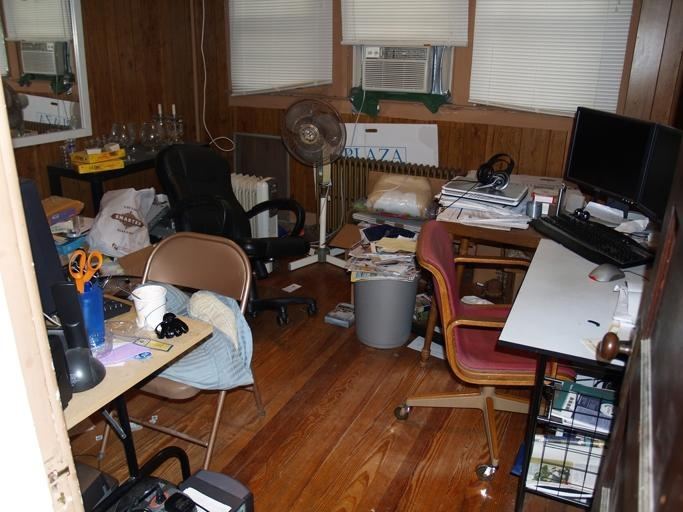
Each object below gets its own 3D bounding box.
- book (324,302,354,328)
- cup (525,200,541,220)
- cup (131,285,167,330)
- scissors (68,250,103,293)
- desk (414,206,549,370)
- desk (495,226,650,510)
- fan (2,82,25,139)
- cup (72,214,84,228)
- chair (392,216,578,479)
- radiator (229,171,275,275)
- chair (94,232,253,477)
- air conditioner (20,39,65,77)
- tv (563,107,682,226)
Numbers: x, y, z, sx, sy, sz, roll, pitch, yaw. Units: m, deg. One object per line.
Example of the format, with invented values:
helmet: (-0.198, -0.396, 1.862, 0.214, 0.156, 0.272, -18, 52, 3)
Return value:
book: (0.011, 0.386, 3.451, 0.188, 0.067, 0.216, 11, 27, 24)
cup: (1.079, -0.263, 2.867, 0.094, 0.095, 0.086, -1, 27, 1)
cup: (-0.657, 0.163, 1.826, 0.130, 0.148, 0.143, 3, 19, 4)
scissors: (-0.805, 0.075, 1.596, 0.094, 0.180, 0.019, 7, -1, 6)
desk: (0.579, 0.141, 2.477, 0.650, 0.856, 0.756, 0, 28, 9)
desk: (0.849, 0.424, 1.900, 0.442, 0.629, 0.902, 13, 37, 19)
fan: (-2.139, -0.949, 3.315, 0.100, 0.350, 0.180, -6, 25, -11)
cup: (-1.684, -0.230, 3.291, 0.060, 0.071, 0.064, -1, -8, 0)
chair: (0.586, 0.352, 2.695, 0.924, 1.151, 1.107, 0, 23, 9)
radiator: (-0.742, -0.350, 4.236, 0.341, 0.630, 0.348, 5, 17, 11)
chair: (-0.679, 0.397, 2.157, 0.707, 0.838, 0.685, -10, 27, -38)
air conditioner: (-2.072, -1.371, 3.562, 0.226, 0.219, 0.171, 0, 18, -11)
tv: (1.435, -0.451, 2.633, 0.217, 0.559, 0.765, -18, 32, -13)
